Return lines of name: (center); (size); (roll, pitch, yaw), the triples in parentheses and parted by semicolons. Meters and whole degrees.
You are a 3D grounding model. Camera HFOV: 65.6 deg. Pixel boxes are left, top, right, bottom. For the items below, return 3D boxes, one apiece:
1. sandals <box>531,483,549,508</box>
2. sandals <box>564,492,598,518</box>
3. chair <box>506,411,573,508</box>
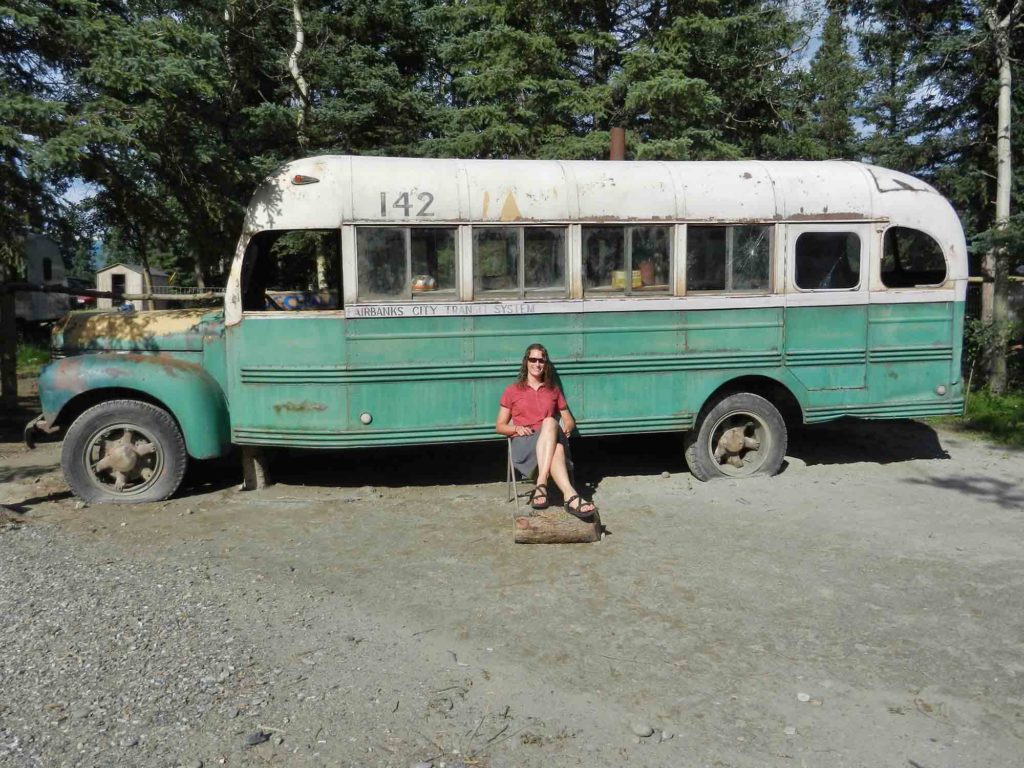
sandals: (0.263, 1.123, 7.826); (0.141, 0.223, 0.297); (-3, 6, -2)
sandals: (0.605, 1.180, 7.628); (0.166, 0.114, 0.292); (-1, 11, -20)
chair: (0.216, 0.686, 8.739); (0.760, 0.559, 1.086); (14, -6, -19)
